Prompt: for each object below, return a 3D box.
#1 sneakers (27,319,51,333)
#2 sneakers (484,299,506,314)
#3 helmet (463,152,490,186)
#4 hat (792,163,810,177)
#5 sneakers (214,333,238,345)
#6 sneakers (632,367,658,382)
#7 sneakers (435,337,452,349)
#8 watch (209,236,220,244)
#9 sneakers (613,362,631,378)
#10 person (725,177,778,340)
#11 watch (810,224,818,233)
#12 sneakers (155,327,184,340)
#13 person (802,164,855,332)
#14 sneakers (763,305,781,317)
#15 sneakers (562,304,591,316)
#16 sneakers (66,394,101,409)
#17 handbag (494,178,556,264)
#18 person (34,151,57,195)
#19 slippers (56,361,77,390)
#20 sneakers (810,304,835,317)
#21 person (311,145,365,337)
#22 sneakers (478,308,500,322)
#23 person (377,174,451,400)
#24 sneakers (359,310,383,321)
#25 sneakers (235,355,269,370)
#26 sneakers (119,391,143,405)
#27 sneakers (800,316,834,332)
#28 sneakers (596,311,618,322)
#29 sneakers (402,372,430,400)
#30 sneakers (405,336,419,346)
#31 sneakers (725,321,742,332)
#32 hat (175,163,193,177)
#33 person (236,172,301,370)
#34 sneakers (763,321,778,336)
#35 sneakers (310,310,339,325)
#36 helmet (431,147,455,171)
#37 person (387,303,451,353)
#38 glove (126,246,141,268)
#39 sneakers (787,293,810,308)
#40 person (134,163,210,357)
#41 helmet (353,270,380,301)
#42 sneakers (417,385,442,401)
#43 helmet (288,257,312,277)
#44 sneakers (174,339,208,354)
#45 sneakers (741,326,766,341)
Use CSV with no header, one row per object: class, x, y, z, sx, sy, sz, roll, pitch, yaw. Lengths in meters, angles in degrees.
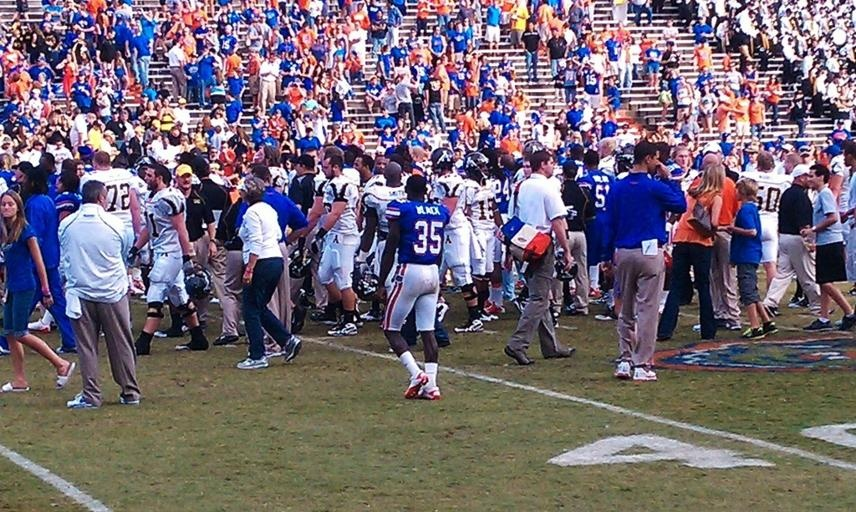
sneakers,-6.285,1.136,16.936,0.420,0.164,0.154,5,5,-3
sneakers,1.130,0.894,17.979,0.387,0.156,0.142,38,4,15
helmet,0.856,-1.452,17.079,0.558,0.509,0.452,-2,1,35
hat,5.955,-1.371,16.696,0.295,0.210,0.216,5,-3,11
sneakers,-3.087,1.289,16.190,0.456,0.184,0.152,0,-11,-3
sneakers,2.873,1.582,13.964,0.350,0.178,0.155,-2,5,-20
sneakers,0.226,1.299,15.811,0.198,0.162,0.144,-1,5,6
watch,-3.337,-0.248,16.379,0.114,0.073,0.118,-12,-29,15
sneakers,2.611,1.540,14.105,0.222,0.138,0.260,2,33,13
person,4.911,0.023,16.090,0.624,2.429,0.633,-3,2,15
watch,6.037,-0.429,16.444,0.066,0.096,0.103,14,30,24
sneakers,-4.092,1.237,16.699,0.355,0.124,0.187,5,-9,-4
person,6.239,-0.162,16.469,0.719,2.601,1.044,-3,2,19
sneakers,5.617,0.903,17.215,0.114,0.144,0.334,-5,-35,45
sneakers,2.511,0.936,18.098,0.183,0.208,0.523,-9,0,-37
sneakers,-4.374,1.848,13.383,0.456,0.180,0.173,5,-1,1
handbag,1.493,-0.450,14.781,0.771,1.113,0.459,8,-24,37
person,-6.351,-1.304,17.475,0.348,1.013,0.244,-2,46,-33
slippers,-4.851,1.603,14.121,0.162,0.418,0.196,26,15,-14
sneakers,6.571,0.904,17.633,0.497,0.185,0.156,-6,11,-19
person,-1.420,-0.177,16.709,0.710,2.880,0.902,-3,2,-5
sneakers,1.015,1.005,17.726,0.438,0.177,0.161,0,4,40
person,-0.153,0.399,13.679,0.918,2.902,0.680,-3,2,0
sneakers,-0.993,0.999,17.702,0.516,0.195,0.167,1,4,12
sneakers,-2.487,1.521,14.927,0.408,0.153,0.184,2,-3,-5
sneakers,-3.780,1.832,13.426,0.270,0.108,0.124,7,1,-18
sneakers,6.011,1.073,16.317,0.498,0.175,0.182,0,0,4
sneakers,3.007,1.013,17.534,0.391,0.147,0.126,1,3,9
sneakers,-0.139,1.670,13.543,0.199,0.442,0.213,18,32,-31
sneakers,-0.242,1.280,15.783,0.138,0.112,0.177,8,8,38
sneakers,4.805,1.102,16.545,0.245,0.148,0.121,-2,9,12
hat,-3.715,-1.322,16.123,0.216,0.154,0.286,-1,2,-23
person,-2.354,0.240,14.854,0.677,1.866,0.475,-5,2,-36
sneakers,5.161,1.076,15.974,0.142,0.150,0.372,-22,1,6
sneakers,-1.701,1.036,17.493,0.532,0.197,0.179,4,0,11
helmet,0.227,-1.523,16.665,0.317,0.324,0.377,-32,53,-33
person,-0.198,1.147,16.074,0.657,0.441,1.409,17,-3,-33
glove,-4.527,0.003,16.157,0.289,0.348,0.128,5,3,21
sneakers,6.523,0.814,18.509,0.501,0.191,0.163,1,2,-38
person,-3.884,0.037,15.599,0.915,2.083,0.589,-3,2,3
helmet,-0.991,0.474,16.843,0.462,0.239,0.698,3,-8,3
sneakers,0.022,1.765,13.489,0.359,0.146,0.137,4,1,20
helmet,-2.027,0.166,16.513,0.165,0.270,0.210,7,-35,22
sneakers,-3.561,1.370,15.899,0.552,0.208,0.176,3,3,9
sneakers,4.912,1.164,15.894,0.341,0.182,0.199,-2,2,15
